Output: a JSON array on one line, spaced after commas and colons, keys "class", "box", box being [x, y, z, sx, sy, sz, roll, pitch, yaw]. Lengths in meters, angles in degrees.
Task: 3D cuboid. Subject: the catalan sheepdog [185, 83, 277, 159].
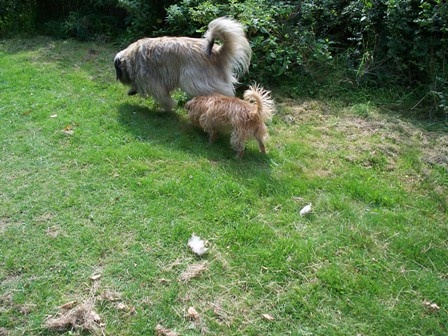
[{"class": "catalan sheepdog", "box": [0.096, -0.878, 6.529, 1.357, 1.050, 0.497, 24, 30, 27]}]
